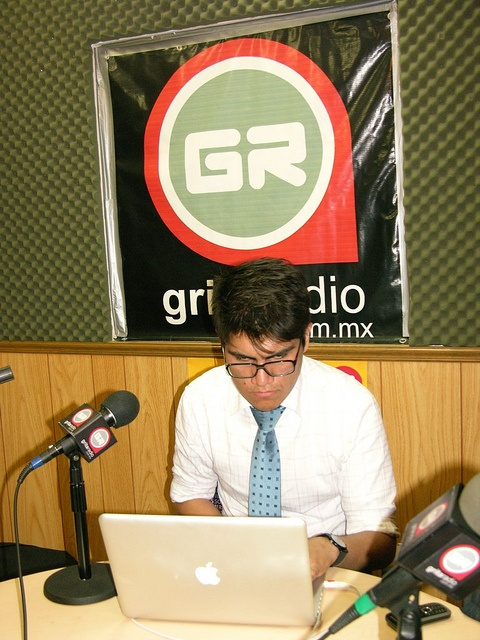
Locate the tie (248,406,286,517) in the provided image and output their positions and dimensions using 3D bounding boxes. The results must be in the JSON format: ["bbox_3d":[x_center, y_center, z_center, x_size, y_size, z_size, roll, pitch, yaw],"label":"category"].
[{"bbox_3d":[0.062,0.333,1.370,0.076,0.312,0.027,3,17,8],"label":"tie"}]

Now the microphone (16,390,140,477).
[{"bbox_3d":[-0.318,0.229,1.148,0.129,0.111,0.257,0,10,26],"label":"microphone"}]
